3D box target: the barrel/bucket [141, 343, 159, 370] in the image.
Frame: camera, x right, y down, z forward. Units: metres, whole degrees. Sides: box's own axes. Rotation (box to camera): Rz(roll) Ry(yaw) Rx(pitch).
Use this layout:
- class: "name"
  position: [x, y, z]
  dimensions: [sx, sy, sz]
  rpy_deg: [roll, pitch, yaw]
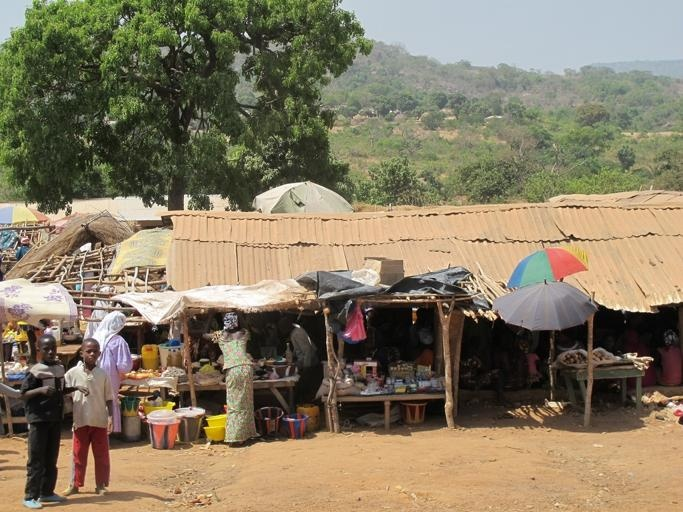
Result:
- class: "barrel/bucket"
  position: [-4.016, 2.138, 16.018]
  dimensions: [0.363, 0.458, 0.704]
  rpy_deg: [-2, 8, -15]

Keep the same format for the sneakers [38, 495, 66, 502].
- class: "sneakers"
  position: [-4.427, 3.713, 11.616]
  dimensions: [0.346, 0.126, 0.121]
  rpy_deg: [-2, 5, -11]

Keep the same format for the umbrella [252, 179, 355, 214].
- class: "umbrella"
  position: [-1.165, -1.854, 24.681]
  dimensions: [2.041, 0.743, 2.100]
  rpy_deg: [0, 5, -20]

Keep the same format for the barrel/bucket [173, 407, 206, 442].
- class: "barrel/bucket"
  position: [-2.923, 3.279, 14.751]
  dimensions: [0.634, 0.587, 0.627]
  rpy_deg: [2, -8, 0]

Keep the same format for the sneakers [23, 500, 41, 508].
- class: "sneakers"
  position: [-4.619, 3.736, 11.403]
  dimensions: [0.228, 0.086, 0.118]
  rpy_deg: [-3, 1, 26]

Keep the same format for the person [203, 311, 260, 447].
- class: "person"
  position: [-1.980, 2.362, 14.665]
  dimensions: [0.661, 2.500, 0.742]
  rpy_deg: [-4, 9, -22]

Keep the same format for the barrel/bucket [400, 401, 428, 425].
- class: "barrel/bucket"
  position: [1.559, 3.257, 15.759]
  dimensions: [0.490, 0.347, 0.474]
  rpy_deg: [0, -7, 0]

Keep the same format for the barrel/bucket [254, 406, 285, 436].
- class: "barrel/bucket"
  position: [-1.474, 3.290, 15.220]
  dimensions: [0.565, 0.365, 0.539]
  rpy_deg: [6, 8, -1]

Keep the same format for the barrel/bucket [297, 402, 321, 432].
- class: "barrel/bucket"
  position: [-0.660, 3.302, 15.523]
  dimensions: [0.529, 0.464, 0.472]
  rpy_deg: [1, -5, -21]

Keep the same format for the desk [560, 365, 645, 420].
- class: "desk"
  position: [5.575, 2.837, 16.439]
  dimensions: [1.766, 0.801, 1.174]
  rpy_deg: [0, -5, 2]

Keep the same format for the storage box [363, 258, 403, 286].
- class: "storage box"
  position: [0.874, 0.305, 16.106]
  dimensions: [0.603, 0.534, 0.872]
  rpy_deg: [-6, 10, -38]

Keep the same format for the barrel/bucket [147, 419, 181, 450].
- class: "barrel/bucket"
  position: [-3.303, 3.374, 14.323]
  dimensions: [0.565, 0.389, 0.550]
  rpy_deg: [3, -5, 0]

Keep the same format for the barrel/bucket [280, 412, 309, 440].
- class: "barrel/bucket"
  position: [-0.901, 3.405, 15.149]
  dimensions: [0.464, 0.331, 0.445]
  rpy_deg: [-1, -9, 0]

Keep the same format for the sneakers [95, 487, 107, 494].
- class: "sneakers"
  position: [-3.777, 3.720, 11.998]
  dimensions: [0.188, 0.120, 0.069]
  rpy_deg: [-11, -11, 42]
